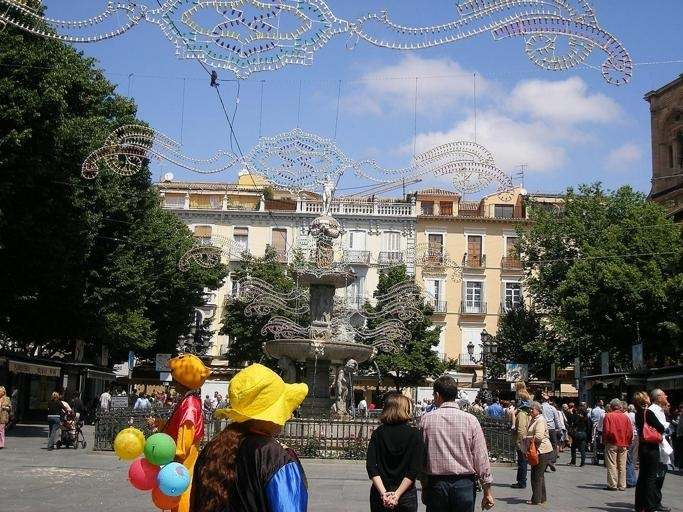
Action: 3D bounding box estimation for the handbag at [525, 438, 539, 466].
[{"bbox_3d":[4.457,4.635,26.197,0.323,0.587,0.246,-3,-11,22],"label":"handbag"}]

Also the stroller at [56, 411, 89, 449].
[{"bbox_3d":[-8.300,5.473,34.989,0.604,0.998,0.928,-8,-19,35],"label":"stroller"}]

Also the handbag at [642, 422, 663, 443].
[{"bbox_3d":[7.060,4.043,25.461,0.413,0.537,0.201,-1,4,30],"label":"handbag"}]

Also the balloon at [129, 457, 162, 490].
[{"bbox_3d":[-3.397,3.795,19.364,0.560,0.598,0.610,-3,-4,-42],"label":"balloon"}]

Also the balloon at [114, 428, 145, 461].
[{"bbox_3d":[-3.653,3.345,19.644,0.515,0.668,0.542,5,3,-3],"label":"balloon"}]

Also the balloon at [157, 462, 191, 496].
[{"bbox_3d":[-2.778,3.761,19.097,0.514,0.643,0.529,6,7,2],"label":"balloon"}]

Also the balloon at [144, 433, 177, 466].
[{"bbox_3d":[-3.060,3.302,19.386,0.477,0.507,0.517,-20,2,11],"label":"balloon"}]
